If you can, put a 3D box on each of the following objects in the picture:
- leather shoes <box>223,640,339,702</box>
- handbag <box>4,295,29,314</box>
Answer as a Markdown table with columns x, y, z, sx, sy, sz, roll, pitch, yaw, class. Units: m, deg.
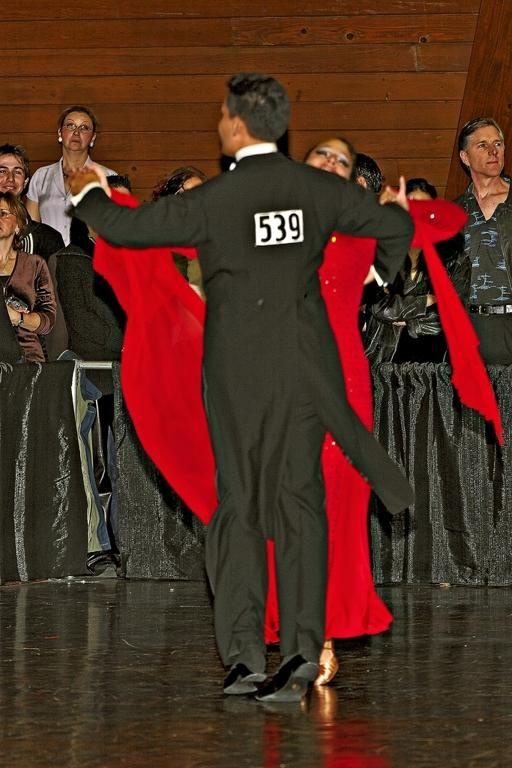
| x | y | z | sx | sy | sz | roll | pitch | yaw | class |
| --- | --- | --- | --- | --- | --- | --- | --- | --- | --- |
| 0.006 | 0.761 | 2.184 | 0.118 | 0.131 | 0.378 | 32 | -33 | -35 | leather shoes |
| -1.250 | -0.421 | 4.363 | 0.129 | 0.034 | 0.091 | 23 | -18 | -5 | handbag |
